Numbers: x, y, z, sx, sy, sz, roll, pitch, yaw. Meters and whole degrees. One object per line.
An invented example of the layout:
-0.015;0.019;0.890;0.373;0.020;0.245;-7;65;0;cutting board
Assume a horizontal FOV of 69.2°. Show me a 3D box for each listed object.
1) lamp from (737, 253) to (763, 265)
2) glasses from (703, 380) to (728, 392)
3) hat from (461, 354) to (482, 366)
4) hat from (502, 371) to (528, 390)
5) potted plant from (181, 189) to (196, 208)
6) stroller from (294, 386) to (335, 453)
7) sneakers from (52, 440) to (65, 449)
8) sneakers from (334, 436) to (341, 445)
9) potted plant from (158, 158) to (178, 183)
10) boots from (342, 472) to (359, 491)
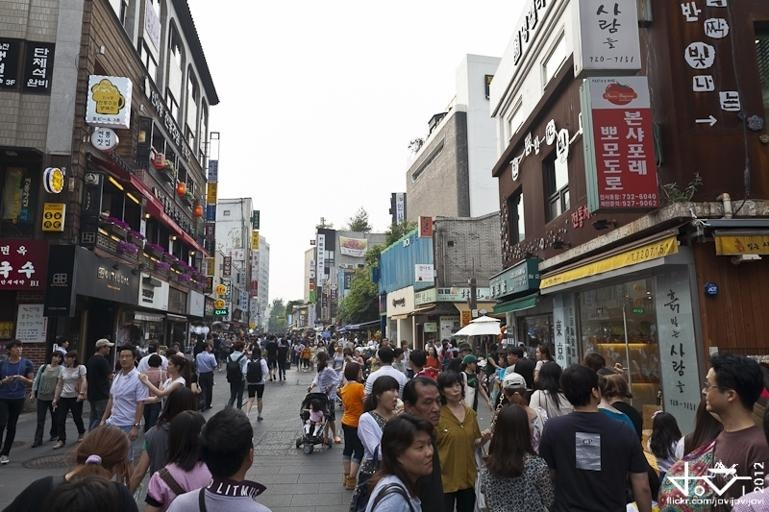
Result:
7.109;0.046;10.844;0.522;0.127;0.350;1;-13;-7;lamp
3.858;1.525;6.499;0.174;0.059;0.176;3;-5;22;glasses
1.901;2.285;12.232;0.279;0.157;0.204;1;-3;-18;hat
2.017;1.934;8.646;0.392;0.230;0.297;11;-17;-41;hat
-11.231;-3.323;32.018;0.705;0.352;0.976;3;-8;-23;potted plant
-1.605;3.822;12.875;0.845;1.393;1.273;-1;-24;2;stroller
-7.472;4.332;12.831;0.147;0.273;0.364;1;-17;1;sneakers
-1.174;4.520;13.663;0.177;0.166;0.408;0;-20;-4;sneakers
-10.529;-4.133;27.084;0.762;0.335;1.051;1;-27;-7;potted plant
-0.654;4.272;10.501;0.371;0.279;0.150;6;-3;-10;boots
